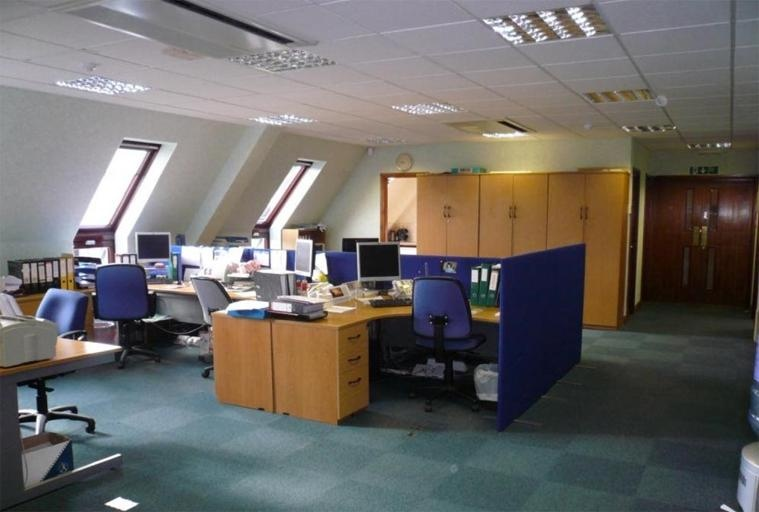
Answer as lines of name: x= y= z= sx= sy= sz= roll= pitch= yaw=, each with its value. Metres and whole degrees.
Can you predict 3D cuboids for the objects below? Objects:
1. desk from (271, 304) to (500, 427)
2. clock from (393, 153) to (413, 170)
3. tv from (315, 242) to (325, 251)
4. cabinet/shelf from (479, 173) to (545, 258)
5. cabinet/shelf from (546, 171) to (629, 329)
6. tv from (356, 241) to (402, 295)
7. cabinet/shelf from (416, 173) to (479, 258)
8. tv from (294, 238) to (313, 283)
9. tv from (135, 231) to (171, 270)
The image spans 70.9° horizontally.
desk: x=-0.379 y=1.127 z=5.941 sx=1.595 sy=0.769 sz=1.510 roll=2 pitch=4 yaw=21
clock: x=0.509 y=-1.946 z=11.180 sx=0.375 sy=0.353 sz=0.090 roll=18 pitch=10 yaw=28
tv: x=-1.185 y=-0.178 z=10.392 sx=0.239 sy=0.211 sz=0.130 roll=5 pitch=14 yaw=21
cabinet/shelf: x=2.445 y=-0.756 z=9.841 sx=1.231 sy=1.504 sz=0.333 roll=2 pitch=10 yaw=12
cabinet/shelf: x=3.652 y=-0.127 z=9.445 sx=1.227 sy=2.704 sz=0.390 roll=5 pitch=11 yaw=27
tv: x=-0.011 y=0.157 z=6.943 sx=0.759 sy=0.795 sz=0.298 roll=-1 pitch=1 yaw=-24
cabinet/shelf: x=1.337 y=-0.782 z=10.186 sx=1.749 sy=1.856 sz=0.687 roll=1 pitch=1 yaw=22
tv: x=-1.077 y=0.087 z=7.485 sx=0.069 sy=0.450 sz=0.570 roll=4 pitch=-10 yaw=-32
tv: x=-3.735 y=-0.075 z=8.742 sx=0.653 sy=0.601 sz=0.267 roll=-1 pitch=-2 yaw=-37
